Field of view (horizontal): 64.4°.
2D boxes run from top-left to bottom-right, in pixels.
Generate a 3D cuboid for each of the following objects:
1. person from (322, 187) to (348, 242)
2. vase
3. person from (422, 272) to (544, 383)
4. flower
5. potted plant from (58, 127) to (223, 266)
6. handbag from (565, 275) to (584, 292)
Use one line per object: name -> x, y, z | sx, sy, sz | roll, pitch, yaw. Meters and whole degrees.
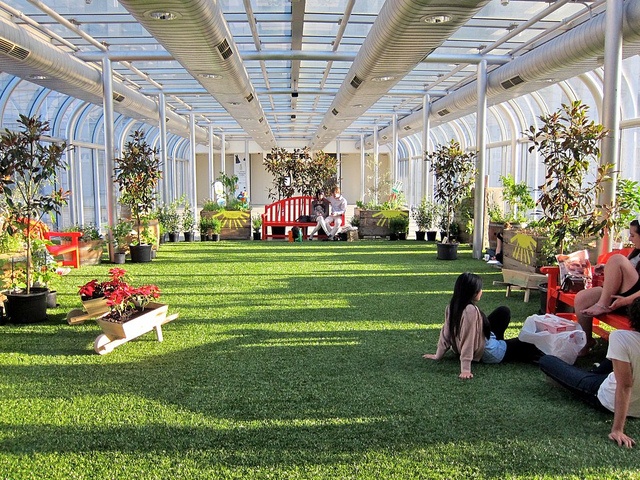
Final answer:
person -> 0.522, -0.908, 17.822 | 0.788, 1.642, 0.994 | 1, 9, 5
vase -> -2.318, 1.069, 6.531 | 0.421, 0.228, 0.684 | 3, 9, 31
person -> 2.008, 0.928, 5.844 | 1.417, 1.013, 0.831 | -2, 8, -11
flower -> -2.617, 0.727, 6.657 | 0.827, 0.578, 0.779 | -2, 14, -18
potted plant -> -4.644, -1.095, 12.403 | 1.577, 3.065, 3.090 | 1, 9, 2
handbag -> 3.429, 0.603, 6.869 | 0.304, 0.221, 0.177 | -1, -13, 16
